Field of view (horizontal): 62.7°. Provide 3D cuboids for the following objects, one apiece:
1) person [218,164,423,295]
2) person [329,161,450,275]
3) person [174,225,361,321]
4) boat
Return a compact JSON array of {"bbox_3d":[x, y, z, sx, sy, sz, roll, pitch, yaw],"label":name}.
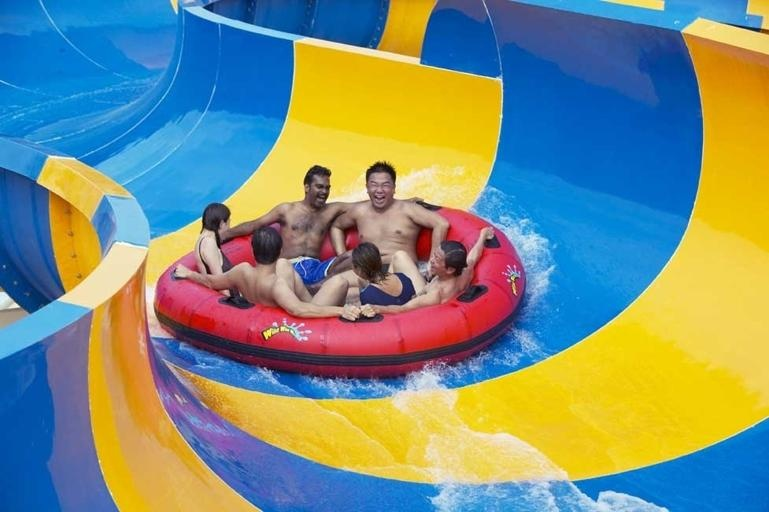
[{"bbox_3d":[-0.768,-0.251,5.778,1.759,1.189,1.102,3,7,8],"label":"person"},{"bbox_3d":[-0.012,-0.325,6.075,1.179,1.096,0.569,-1,20,12],"label":"person"},{"bbox_3d":[-0.977,0.206,5.152,0.928,0.487,0.860,21,24,26],"label":"person"},{"bbox_3d":[-0.242,0.452,5.113,1.867,0.472,1.611,-1,17,-2],"label":"boat"}]
